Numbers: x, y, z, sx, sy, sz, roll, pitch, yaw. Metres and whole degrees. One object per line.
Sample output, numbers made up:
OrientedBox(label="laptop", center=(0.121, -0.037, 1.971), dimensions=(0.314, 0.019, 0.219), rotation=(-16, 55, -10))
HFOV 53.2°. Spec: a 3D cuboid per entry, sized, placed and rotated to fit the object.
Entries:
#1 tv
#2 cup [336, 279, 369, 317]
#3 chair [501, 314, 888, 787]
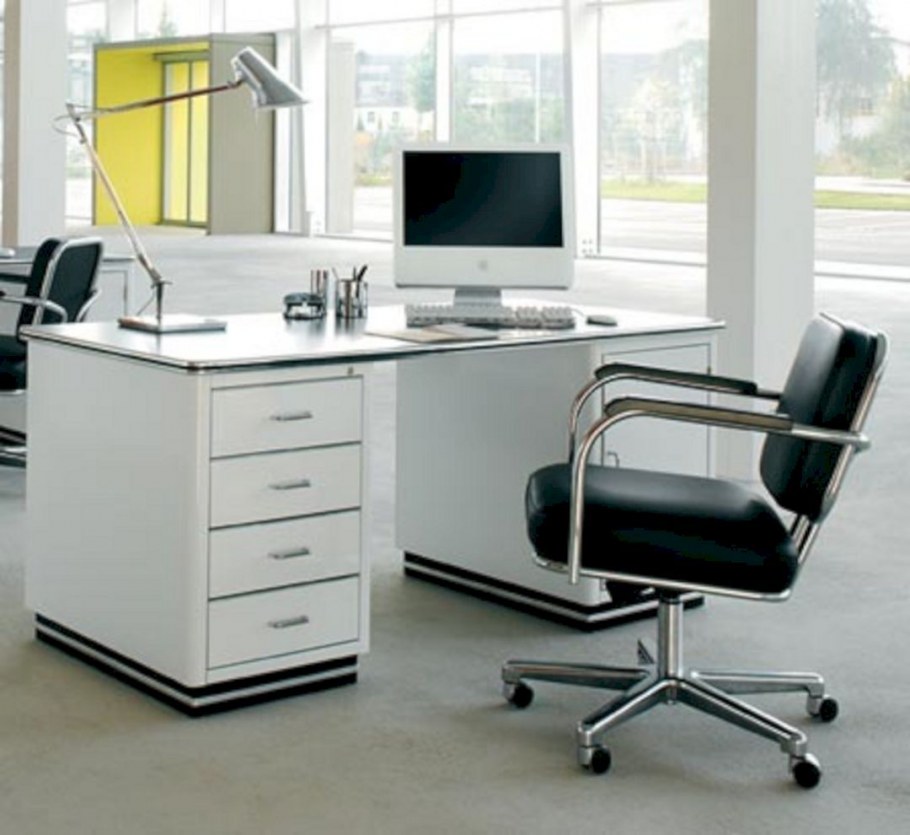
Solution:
OrientedBox(label="tv", center=(0.092, -0.639, 2.908), dimensions=(0.464, 0.445, 0.177), rotation=(0, 0, -1))
OrientedBox(label="cup", center=(-0.300, -0.362, 2.738), dimensions=(0.082, 0.128, 0.120), rotation=(2, 6, 6))
OrientedBox(label="chair", center=(0.494, 0.234, 1.939), dimensions=(0.644, 0.895, 0.661), rotation=(1, 6, 8))
